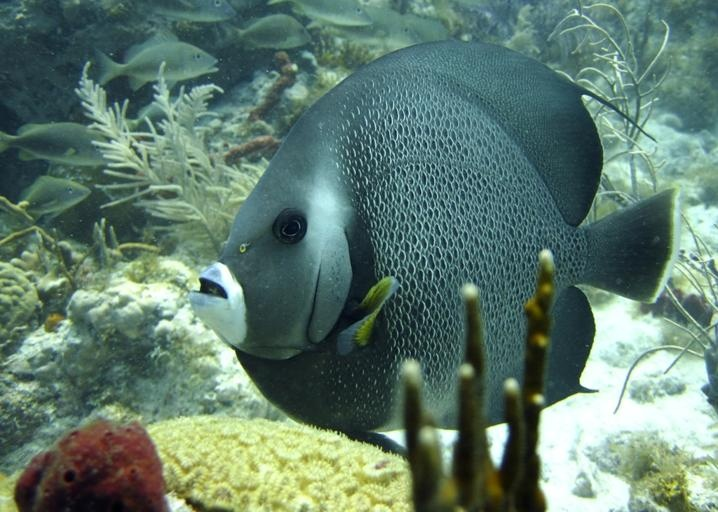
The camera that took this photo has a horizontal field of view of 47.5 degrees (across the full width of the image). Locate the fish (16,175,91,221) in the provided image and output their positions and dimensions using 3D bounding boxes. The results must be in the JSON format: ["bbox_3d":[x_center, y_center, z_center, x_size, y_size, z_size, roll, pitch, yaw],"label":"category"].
[{"bbox_3d":[-3.566,-0.623,9.291,0.936,0.288,0.507,-11,75,-7],"label":"fish"}]
